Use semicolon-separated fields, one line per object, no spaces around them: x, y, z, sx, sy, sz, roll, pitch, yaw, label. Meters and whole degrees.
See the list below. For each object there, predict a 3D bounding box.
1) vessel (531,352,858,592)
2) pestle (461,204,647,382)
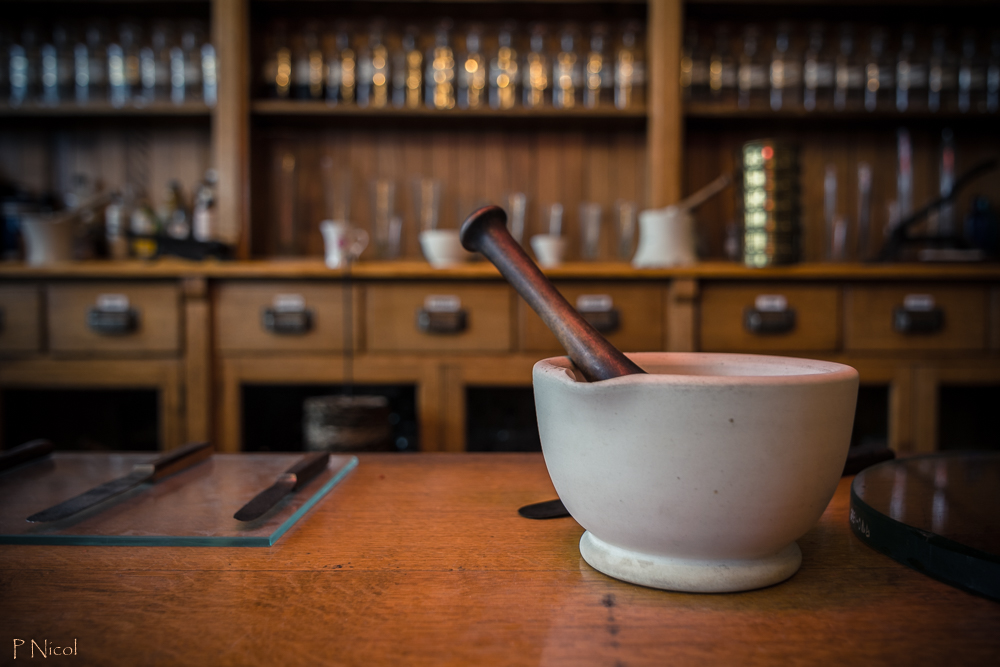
0.205;0.139;1.051;0.336;0.220;0.350;3;5;36;vessel
0.067;-0.046;1.008;0.210;0.189;0.101;1;6;44;pestle
